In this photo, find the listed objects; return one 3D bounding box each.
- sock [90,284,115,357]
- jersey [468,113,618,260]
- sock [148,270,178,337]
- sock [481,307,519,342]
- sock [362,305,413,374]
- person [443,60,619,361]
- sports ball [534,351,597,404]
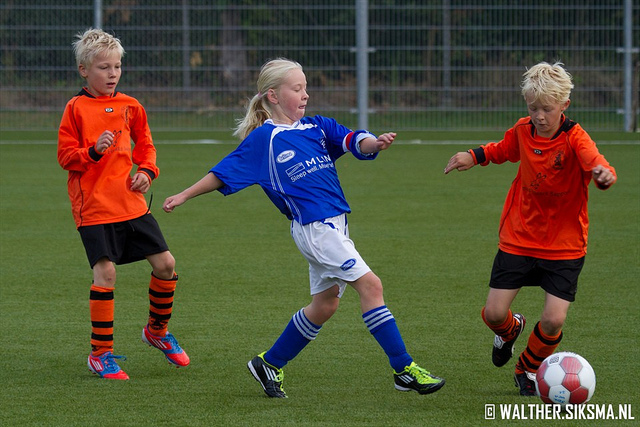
[{"bbox_3d":[-1.909,0.936,8.583,0.202,0.616,0.123,-3,7,-13],"label":"sock"},{"bbox_3d":[1.921,-0.231,8.378,1.166,1.229,0.529,2,8,23],"label":"jersey"},{"bbox_3d":[-1.437,0.834,8.937,0.231,0.699,0.244,7,24,3],"label":"sock"},{"bbox_3d":[1.590,0.969,8.548,0.352,0.306,0.139,-5,8,-25],"label":"sock"},{"bbox_3d":[0.590,1.112,8.249,0.306,0.648,0.268,-24,-2,-15],"label":"sock"},{"bbox_3d":[1.888,0.060,8.406,1.140,2.645,0.569,1,7,19],"label":"person"},{"bbox_3d":[2.023,1.393,8.224,0.444,0.447,0.424,9,-15,2],"label":"sports ball"}]
